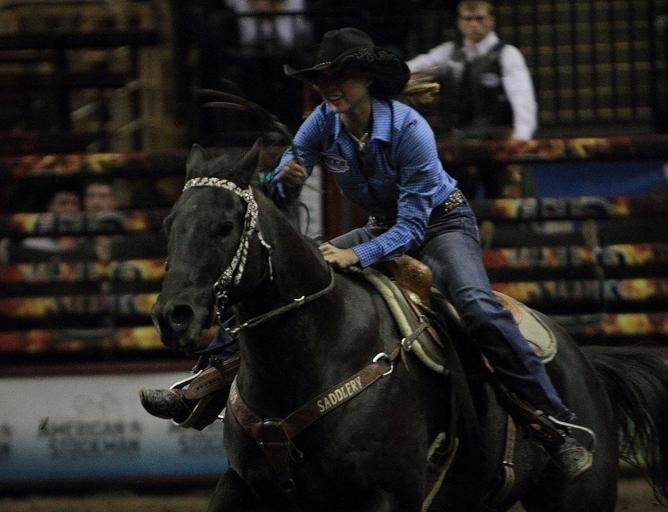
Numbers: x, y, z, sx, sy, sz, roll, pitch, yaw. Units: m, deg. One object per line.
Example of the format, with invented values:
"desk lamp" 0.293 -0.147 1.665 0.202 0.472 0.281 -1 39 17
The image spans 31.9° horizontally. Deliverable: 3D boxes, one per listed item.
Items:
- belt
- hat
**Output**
"belt" 0.505 -0.284 7.324 0.535 0.099 0.304 -8 -1 2
"hat" 0.163 -1.231 7.024 0.494 0.166 0.478 -27 9 -30
